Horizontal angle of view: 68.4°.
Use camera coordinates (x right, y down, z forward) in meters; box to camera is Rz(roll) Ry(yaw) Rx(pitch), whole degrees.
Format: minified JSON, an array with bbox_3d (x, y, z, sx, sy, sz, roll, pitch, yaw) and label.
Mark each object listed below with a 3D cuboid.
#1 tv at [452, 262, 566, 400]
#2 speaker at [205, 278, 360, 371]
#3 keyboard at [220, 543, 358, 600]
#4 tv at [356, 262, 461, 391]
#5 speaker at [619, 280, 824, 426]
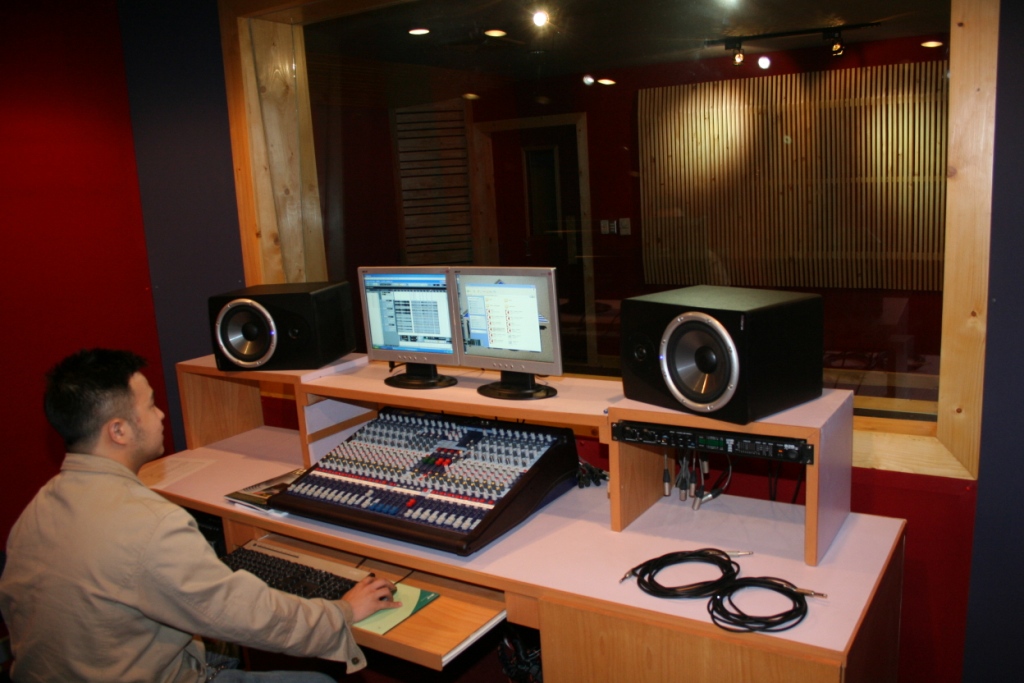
[{"bbox_3d":[-0.023,-0.031,2.894,0.496,0.517,0.252,3,11,26],"label":"tv"},{"bbox_3d":[-1.009,-0.060,3.302,0.634,0.417,0.385,-1,4,20],"label":"speaker"},{"bbox_3d":[-0.798,0.842,2.733,0.373,0.052,0.149,12,23,29],"label":"keyboard"},{"bbox_3d":[-0.415,-0.055,3.087,0.508,0.514,0.292,1,8,25],"label":"tv"},{"bbox_3d":[0.701,-0.041,2.533,0.514,0.338,0.521,6,15,43],"label":"speaker"}]
